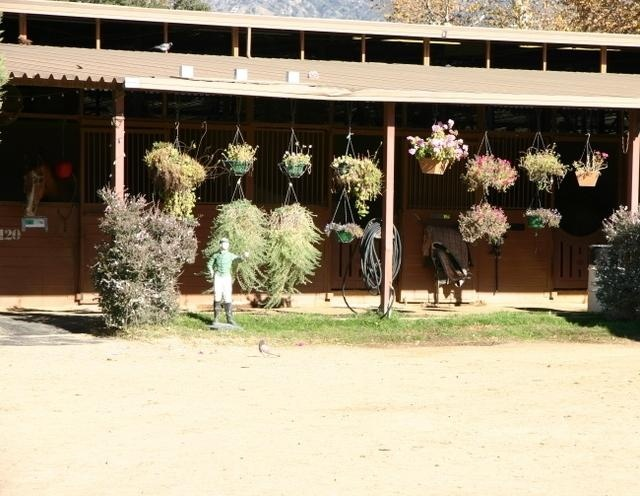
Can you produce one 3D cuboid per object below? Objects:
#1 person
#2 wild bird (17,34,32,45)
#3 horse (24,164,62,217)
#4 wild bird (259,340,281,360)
[{"bbox_3d":[-1.398,0.474,21.390,0.557,1.363,1.175,0,15,-3],"label":"person"},{"bbox_3d":[-4.775,-3.356,22.861,0.268,0.210,0.136,4,0,2],"label":"wild bird"},{"bbox_3d":[-4.498,-0.929,22.749,0.532,0.828,0.220,-12,19,-41],"label":"horse"},{"bbox_3d":[-0.718,1.408,19.525,0.313,0.262,0.190,3,-3,14],"label":"wild bird"}]
